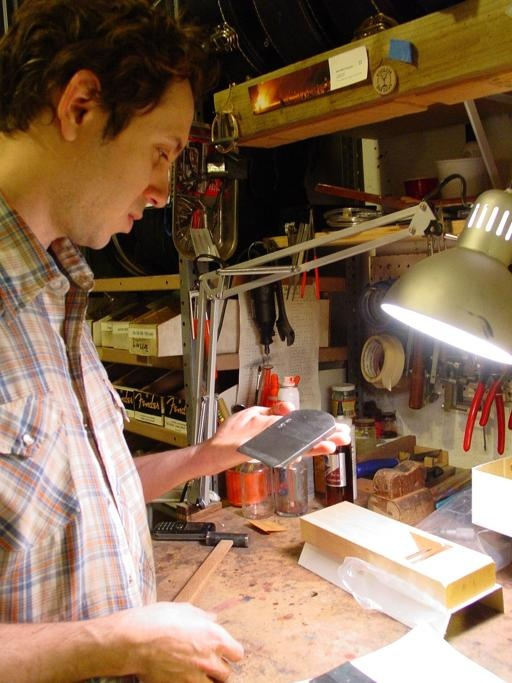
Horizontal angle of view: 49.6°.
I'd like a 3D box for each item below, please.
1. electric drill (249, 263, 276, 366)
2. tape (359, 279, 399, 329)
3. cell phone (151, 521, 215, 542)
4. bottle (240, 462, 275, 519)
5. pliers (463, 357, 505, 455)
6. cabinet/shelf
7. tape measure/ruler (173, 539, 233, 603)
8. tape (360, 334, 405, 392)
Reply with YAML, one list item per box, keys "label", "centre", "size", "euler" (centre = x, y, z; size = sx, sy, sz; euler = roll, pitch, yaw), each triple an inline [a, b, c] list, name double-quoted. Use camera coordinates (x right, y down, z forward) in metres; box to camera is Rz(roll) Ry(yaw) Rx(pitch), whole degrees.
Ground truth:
- label: "electric drill"
  centre: [0.016, -0.069, 1.488]
  size: [0.063, 0.201, 0.055]
  euler: [-7, 7, -4]
- label: "tape"
  centre: [0.303, -0.091, 1.355]
  size: [0.099, 0.101, 0.087]
  euler: [-13, -38, -13]
- label: "cell phone"
  centre: [-0.150, 0.401, 1.175]
  size: [0.077, 0.018, 0.056]
  euler: [1, -1, 3]
- label: "bottle"
  centre: [0.003, 0.349, 1.320]
  size: [0.088, 0.129, 0.073]
  euler: [-6, 17, -31]
- label: "pliers"
  centre: [0.558, 0.150, 1.337]
  size: [0.091, 0.285, 0.190]
  euler: [0, 3, 39]
- label: "cabinet/shelf"
  centre: [-0.283, 0.147, 1.814]
  size: [0.331, 0.748, 0.407]
  euler: [-8, 16, -37]
- label: "tape measure/ruler"
  centre: [-0.093, 0.407, 0.983]
  size: [0.069, 0.049, 0.082]
  euler: [12, 17, 40]
- label: "tape"
  centre: [0.374, 0.052, 1.595]
  size: [0.101, 0.159, 0.119]
  euler: [15, 22, 38]
